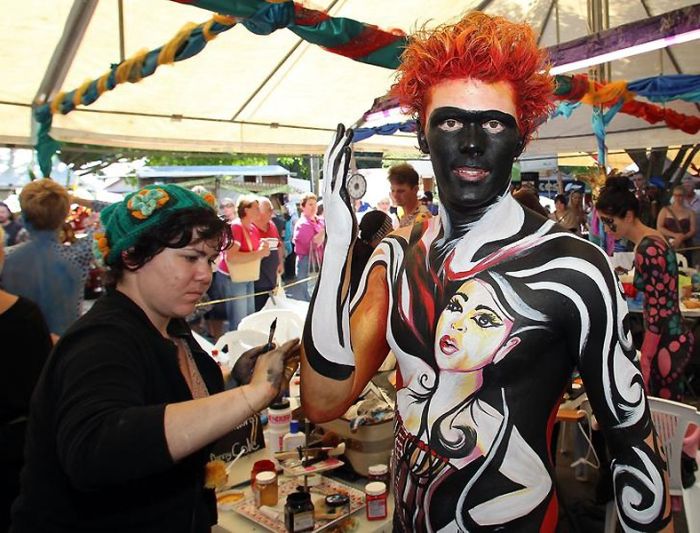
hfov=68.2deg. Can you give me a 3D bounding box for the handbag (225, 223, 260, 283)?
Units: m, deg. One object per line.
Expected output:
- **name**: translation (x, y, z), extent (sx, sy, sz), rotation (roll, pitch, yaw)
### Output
- **handbag**: translation (-1.211, -0.182, 6.103), extent (0.357, 0.634, 0.471), rotation (-3, 2, 40)

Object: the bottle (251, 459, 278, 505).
- **bottle**: translation (-0.369, 0.942, 2.283), extent (0.135, 0.212, 0.135), rotation (1, -5, 0)

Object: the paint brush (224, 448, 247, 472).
- **paint brush**: translation (-0.562, 0.921, 2.512), extent (0.035, 0.175, 0.031), rotation (42, -9, 7)

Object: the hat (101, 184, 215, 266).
- **hat**: translation (-0.660, -0.110, 1.734), extent (0.299, 0.156, 0.268), rotation (-34, 5, -13)

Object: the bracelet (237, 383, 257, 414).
- **bracelet**: translation (-0.300, 0.377, 1.495), extent (0.017, 0.070, 0.065), rotation (-15, -6, 11)
